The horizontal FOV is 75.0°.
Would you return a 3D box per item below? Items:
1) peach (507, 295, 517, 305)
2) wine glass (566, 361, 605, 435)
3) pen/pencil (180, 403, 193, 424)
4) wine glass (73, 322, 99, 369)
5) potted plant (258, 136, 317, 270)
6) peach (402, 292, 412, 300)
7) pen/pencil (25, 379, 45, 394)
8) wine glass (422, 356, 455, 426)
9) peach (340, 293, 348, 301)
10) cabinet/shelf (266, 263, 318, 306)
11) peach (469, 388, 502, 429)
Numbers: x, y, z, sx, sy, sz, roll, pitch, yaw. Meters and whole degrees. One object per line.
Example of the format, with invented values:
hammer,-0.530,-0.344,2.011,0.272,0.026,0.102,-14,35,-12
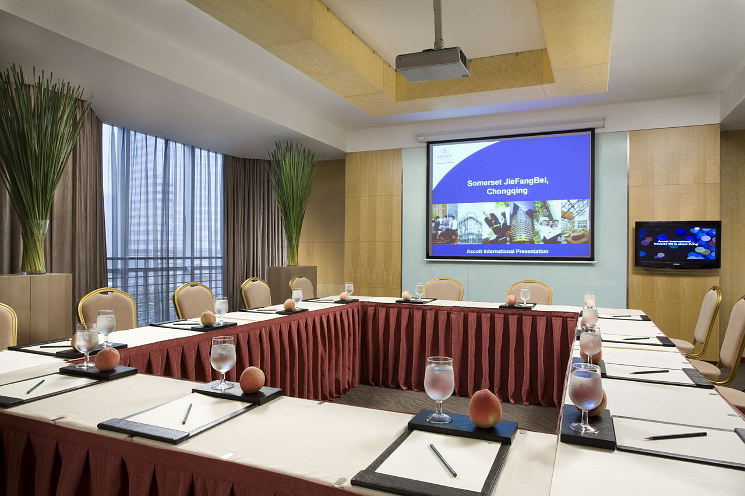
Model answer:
peach,1.354,0.513,4.739,0.085,0.082,0.087,-2,-4,36
wine glass,0.965,0.666,2.195,0.130,0.293,0.210,6,11,26
pen/pencil,-0.857,0.771,2.251,0.030,0.012,0.173,0,9,-10
wine glass,-1.586,0.547,2.698,0.188,0.224,0.184,0,-11,-31
potted plant,-1.235,-0.696,7.599,0.708,1.947,1.483,0,10,-10
peach,0.366,0.507,5.110,0.087,0.071,0.080,-4,-2,20
pen/pencil,-1.738,0.720,2.514,0.014,0.018,0.133,-35,4,29
wine glass,0.308,0.656,2.250,0.125,0.303,0.208,3,10,7
peach,-0.289,0.512,5.085,0.067,0.070,0.089,6,3,19
cabinet/shelf,-1.067,0.486,6.408,0.614,0.565,0.313,1,0,-36
peach,0.519,0.716,2.189,0.127,0.151,0.160,7,11,31
